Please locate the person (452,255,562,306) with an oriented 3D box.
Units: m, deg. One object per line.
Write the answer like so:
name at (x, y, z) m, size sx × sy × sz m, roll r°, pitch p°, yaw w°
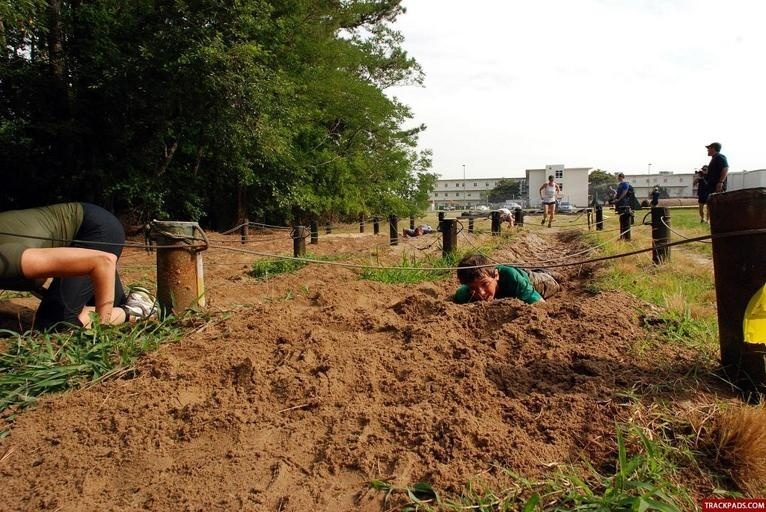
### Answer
person at (1.628, 0.294, 8.010) m, size 1.134 × 0.463 × 0.690 m, roll -8°, pitch -10°, yaw -32°
